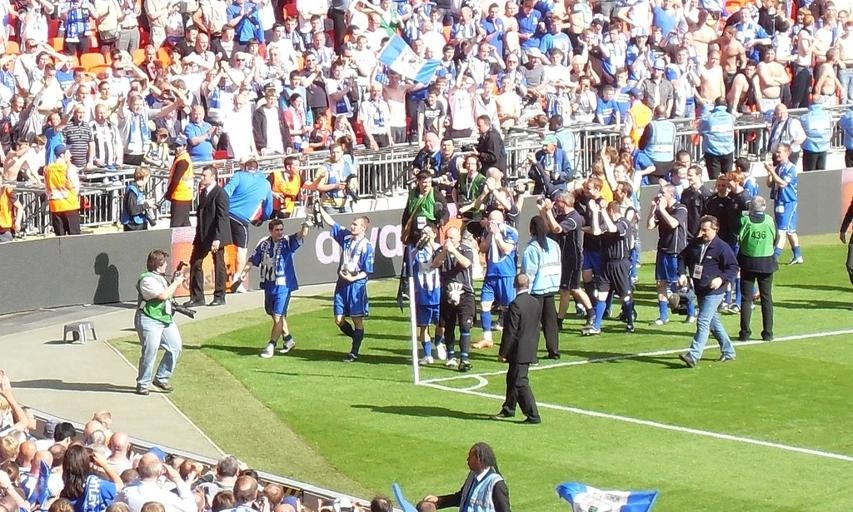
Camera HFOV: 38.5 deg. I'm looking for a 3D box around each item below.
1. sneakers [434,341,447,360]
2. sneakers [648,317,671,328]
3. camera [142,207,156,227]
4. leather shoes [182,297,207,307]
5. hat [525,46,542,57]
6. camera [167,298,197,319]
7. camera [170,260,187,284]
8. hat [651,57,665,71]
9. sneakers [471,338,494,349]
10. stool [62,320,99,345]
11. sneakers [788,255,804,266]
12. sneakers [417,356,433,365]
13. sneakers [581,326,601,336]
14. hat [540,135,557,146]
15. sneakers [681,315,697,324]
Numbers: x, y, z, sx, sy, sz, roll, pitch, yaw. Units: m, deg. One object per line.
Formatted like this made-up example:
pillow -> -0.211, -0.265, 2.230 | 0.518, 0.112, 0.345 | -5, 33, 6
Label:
sneakers -> 0.249, 1.901, 24.505 | 0.170, 0.162, 0.412 | -3, 23, -6
sneakers -> 4.966, 1.439, 26.141 | 0.432, 0.163, 0.165 | -7, -2, -26
camera -> -6.354, -0.896, 27.906 | 0.136, 0.412, 0.313 | -13, 20, -22
leather shoes -> -5.285, 1.050, 27.512 | 0.538, 0.220, 0.191 | 3, -4, -13
hat -> 2.938, -5.742, 33.914 | 0.422, 0.186, 0.568 | 10, 3, 3
camera -> -5.036, 1.100, 24.882 | 0.245, 0.352, 0.884 | -16, 29, -38
camera -> -5.078, 0.319, 24.718 | 0.233, 0.181, 0.513 | 5, 15, 5
hat -> 6.456, -5.386, 34.028 | 0.355, 0.245, 0.475 | 18, 11, 12
sneakers -> 1.105, 1.795, 24.627 | 0.457, 0.213, 0.176 | 0, 4, -15
stool -> -7.311, 1.600, 25.515 | 0.469, 0.336, 0.596 | 0, 6, 7
sneakers -> 9.202, 0.109, 30.371 | 0.450, 0.191, 0.153 | -3, 7, 21
sneakers -> -0.035, 2.111, 24.430 | 0.133, 0.148, 0.354 | -8, 7, -38
sneakers -> 3.409, 1.593, 25.604 | 0.451, 0.213, 0.147 | 3, 1, -1
hat -> 2.871, -2.785, 28.842 | 0.303, 0.225, 0.472 | -1, 2, 42
sneakers -> 5.675, 1.389, 26.343 | 0.123, 0.112, 0.269 | -7, -2, 40
